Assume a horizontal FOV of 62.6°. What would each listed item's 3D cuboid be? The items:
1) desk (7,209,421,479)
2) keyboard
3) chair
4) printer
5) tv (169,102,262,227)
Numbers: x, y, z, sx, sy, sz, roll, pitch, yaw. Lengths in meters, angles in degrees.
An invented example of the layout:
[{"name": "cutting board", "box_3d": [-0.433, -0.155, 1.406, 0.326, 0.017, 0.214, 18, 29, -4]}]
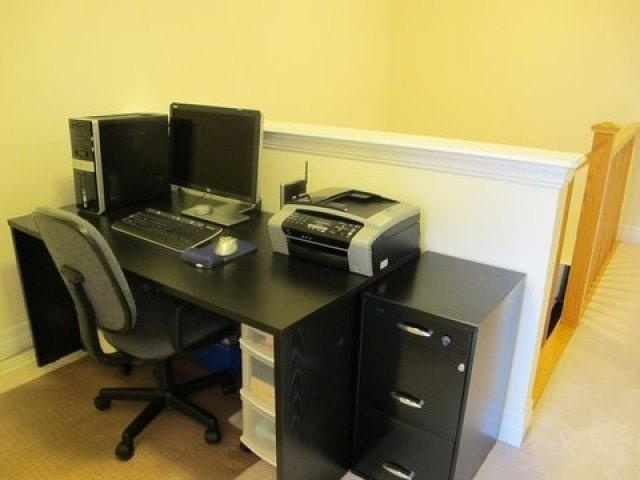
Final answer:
[{"name": "desk", "box_3d": [-0.403, 0.659, 2.634, 1.814, 0.918, 0.946, 22, 33, 30]}, {"name": "keyboard", "box_3d": [-0.749, -0.049, 2.517, 0.400, 0.067, 0.241, 18, 34, 24]}, {"name": "chair", "box_3d": [-0.790, 0.357, 2.490, 0.701, 1.177, 0.809, 17, 24, 31]}, {"name": "printer", "box_3d": [0.147, -0.077, 2.320, 0.496, 0.265, 0.403, 17, 32, 31]}, {"name": "tv", "box_3d": [-0.577, -0.392, 2.611, 0.530, 0.514, 0.301, 13, 26, 25]}]
